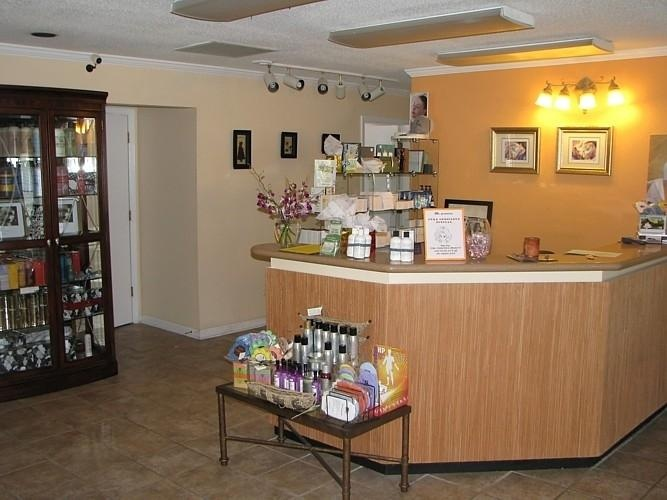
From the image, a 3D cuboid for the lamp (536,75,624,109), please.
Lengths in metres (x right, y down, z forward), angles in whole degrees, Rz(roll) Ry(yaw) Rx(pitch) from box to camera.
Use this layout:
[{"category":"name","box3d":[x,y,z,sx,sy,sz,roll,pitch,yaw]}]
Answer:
[{"category":"lamp","box3d":[2.499,-1.558,5.452,0.816,0.261,0.263,7,16,33]}]

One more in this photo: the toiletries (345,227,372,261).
[{"category":"toiletries","box3d":[0.184,-0.039,3.865,0.234,0.270,0.141,5,12,13]}]

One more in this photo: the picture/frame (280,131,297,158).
[{"category":"picture/frame","box3d":[-0.604,-1.377,7.099,0.033,0.392,0.384,8,11,39]}]

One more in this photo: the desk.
[{"category":"desk","box3d":[-0.040,0.937,3.610,1.480,0.603,0.760,5,8,40]}]

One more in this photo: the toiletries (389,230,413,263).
[{"category":"toiletries","box3d":[0.481,-0.024,3.747,0.163,0.203,0.189,1,12,6]}]

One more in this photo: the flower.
[{"category":"flower","box3d":[-0.312,-0.312,4.494,0.412,0.501,0.468,-8,14,-37]}]

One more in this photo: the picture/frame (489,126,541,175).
[{"category":"picture/frame","box3d":[2.054,-1.104,5.999,0.592,0.499,0.042,9,14,35]}]

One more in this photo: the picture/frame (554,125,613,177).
[{"category":"picture/frame","box3d":[2.611,-1.018,5.589,0.646,0.470,0.035,-1,6,-12]}]

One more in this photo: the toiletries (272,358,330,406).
[{"category":"toiletries","box3d":[-0.206,0.868,3.515,0.333,0.236,0.104,1,0,34]}]

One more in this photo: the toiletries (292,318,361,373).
[{"category":"toiletries","box3d":[-0.098,0.644,3.694,0.505,0.308,0.404,6,13,30]}]

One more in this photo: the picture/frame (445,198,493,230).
[{"category":"picture/frame","box3d":[1.304,-0.334,5.039,0.500,0.312,0.035,7,8,34]}]

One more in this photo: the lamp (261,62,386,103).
[{"category":"lamp","box3d":[-0.170,-1.999,6.454,1.382,0.231,0.217,6,34,-3]}]

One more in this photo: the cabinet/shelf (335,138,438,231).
[{"category":"cabinet/shelf","box3d":[0.507,-0.573,4.719,0.427,1.035,1.278,6,9,43]}]
